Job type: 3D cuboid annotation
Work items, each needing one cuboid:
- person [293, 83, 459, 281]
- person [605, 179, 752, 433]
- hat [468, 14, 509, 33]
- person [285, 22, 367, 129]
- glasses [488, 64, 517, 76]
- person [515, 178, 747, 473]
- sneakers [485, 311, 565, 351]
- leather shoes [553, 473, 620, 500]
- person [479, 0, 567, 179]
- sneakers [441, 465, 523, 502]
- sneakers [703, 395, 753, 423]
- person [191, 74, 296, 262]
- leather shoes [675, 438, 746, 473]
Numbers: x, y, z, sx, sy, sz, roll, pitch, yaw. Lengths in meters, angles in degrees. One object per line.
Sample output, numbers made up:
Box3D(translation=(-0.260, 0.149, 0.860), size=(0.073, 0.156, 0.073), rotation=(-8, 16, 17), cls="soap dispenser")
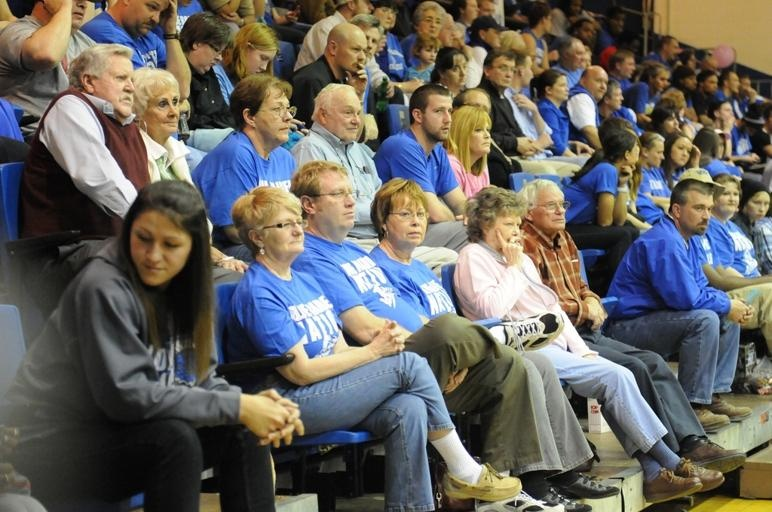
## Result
Box3D(translation=(-0.049, -0.443, 6.041), size=(1.007, 1.141, 0.717), rotation=(0, -5, 5), cls="person")
Box3D(translation=(1.979, 0.261, 6.409), size=(0.839, 1.519, 0.953), rotation=(1, 3, -30), cls="person")
Box3D(translation=(0.991, -2.229, 9.585), size=(0.249, 0.145, 0.182), rotation=(2, 14, 3), cls="hat")
Box3D(translation=(-0.370, -1.213, 6.964), size=(0.525, 0.811, 0.829), rotation=(8, 13, 17), cls="person")
Box3D(translation=(0.927, -1.504, 8.027), size=(0.125, 0.044, 0.127), rotation=(-5, -2, 44), cls="glasses")
Box3D(translation=(1.264, 0.432, 5.668), size=(0.694, 1.600, 1.324), rotation=(-13, 22, -34), cls="person")
Box3D(translation=(0.738, 0.373, 5.147), size=(0.497, 0.176, 0.197), rotation=(-8, 5, -9), cls="sneakers")
Box3D(translation=(0.998, 1.155, 5.095), size=(0.381, 0.144, 0.132), rotation=(-2, 5, -2), cls="leather shoes")
Box3D(translation=(0.919, -1.262, 8.141), size=(1.027, 1.428, 0.999), rotation=(0, 10, 14), cls="person")
Box3D(translation=(0.470, 1.071, 4.646), size=(0.327, 0.148, 0.165), rotation=(-1, 5, -2), cls="sneakers")
Box3D(translation=(2.248, 0.972, 6.419), size=(0.339, 0.158, 0.126), rotation=(5, -1, 0), cls="sneakers")
Box3D(translation=(-0.676, -0.494, 5.553), size=(0.686, 0.968, 0.622), rotation=(12, 12, 38), cls="person")
Box3D(translation=(1.826, 1.094, 5.652), size=(0.404, 0.179, 0.165), rotation=(10, 12, -5), cls="leather shoes")
